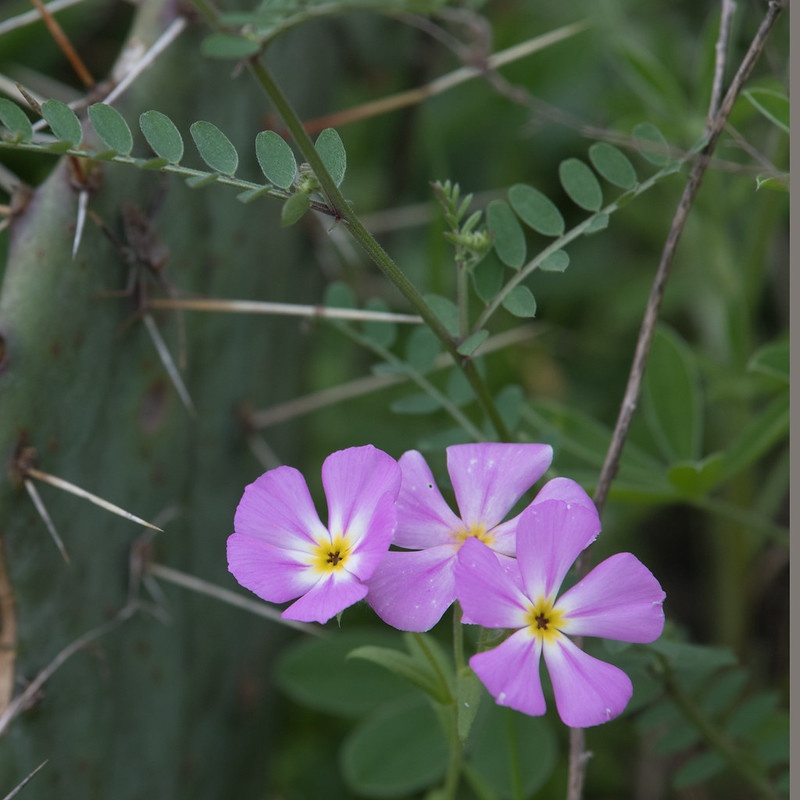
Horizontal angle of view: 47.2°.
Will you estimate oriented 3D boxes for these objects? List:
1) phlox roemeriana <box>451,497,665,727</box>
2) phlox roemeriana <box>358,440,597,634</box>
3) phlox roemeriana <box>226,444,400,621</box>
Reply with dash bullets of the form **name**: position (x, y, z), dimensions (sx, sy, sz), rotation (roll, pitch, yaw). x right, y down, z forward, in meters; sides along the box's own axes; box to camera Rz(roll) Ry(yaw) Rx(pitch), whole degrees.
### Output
- **phlox roemeriana**: position (0.098, 0.126, 0.549), dimensions (0.123, 0.103, 0.102), rotation (-15, 35, 4)
- **phlox roemeriana**: position (0.050, 0.070, 0.568), dimensions (0.116, 0.037, 0.141), rotation (0, 71, 8)
- **phlox roemeriana**: position (-0.049, 0.087, 0.579), dimensions (0.116, 0.055, 0.131), rotation (-3, 36, 22)
